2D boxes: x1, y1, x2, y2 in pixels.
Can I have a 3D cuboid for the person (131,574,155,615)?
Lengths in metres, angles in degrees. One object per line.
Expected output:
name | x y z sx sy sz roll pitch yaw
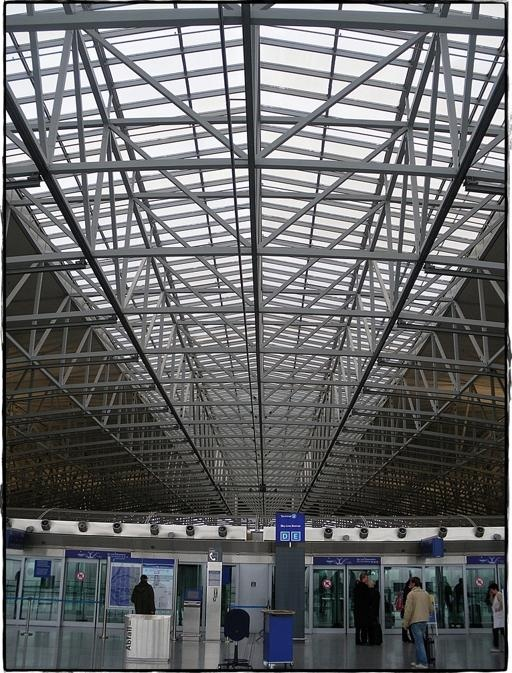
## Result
person | -2.728 6.197 16.112 0.552 0.884 1.458 2 -20 -9

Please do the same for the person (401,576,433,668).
person | 3.254 5.731 13.417 0.609 1.725 1.440 -5 -21 12

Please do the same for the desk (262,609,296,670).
desk | 0.473 6.499 14.416 0.612 1.132 0.722 -1 -20 0
